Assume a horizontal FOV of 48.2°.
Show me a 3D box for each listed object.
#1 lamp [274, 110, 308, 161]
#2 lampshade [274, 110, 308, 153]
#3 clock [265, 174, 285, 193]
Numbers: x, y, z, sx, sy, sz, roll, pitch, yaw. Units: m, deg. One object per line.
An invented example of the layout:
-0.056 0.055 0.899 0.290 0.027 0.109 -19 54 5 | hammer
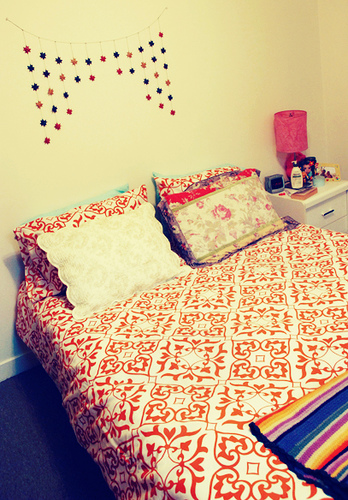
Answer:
0.838 -0.801 2.754 0.240 0.370 0.238 -26 26 -37 | lamp
0.830 -0.837 2.777 0.270 0.295 0.280 3 8 35 | lampshade
0.705 -0.480 2.774 0.144 0.134 0.120 -19 18 -16 | clock
